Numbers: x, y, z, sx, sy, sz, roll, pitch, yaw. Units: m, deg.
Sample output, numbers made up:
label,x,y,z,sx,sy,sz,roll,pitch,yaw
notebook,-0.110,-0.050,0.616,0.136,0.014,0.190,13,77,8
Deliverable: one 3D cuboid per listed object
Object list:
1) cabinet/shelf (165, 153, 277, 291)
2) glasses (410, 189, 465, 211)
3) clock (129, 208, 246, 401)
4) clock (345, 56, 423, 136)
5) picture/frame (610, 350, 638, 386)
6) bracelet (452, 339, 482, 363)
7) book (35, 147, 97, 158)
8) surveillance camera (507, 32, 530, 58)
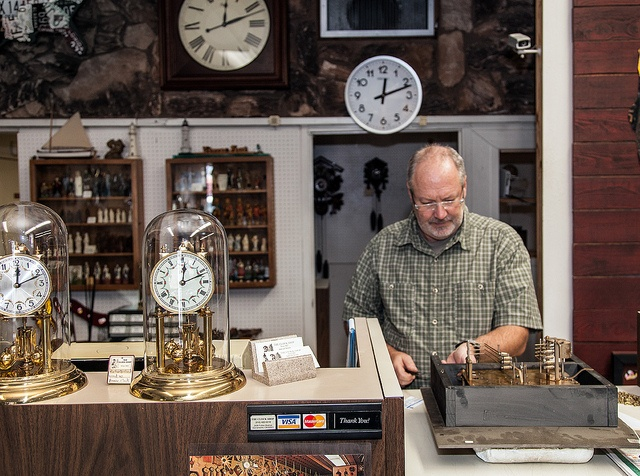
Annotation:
label,x,y,z,sx,sy,sz,roll,pitch,yaw
cabinet/shelf,-0.738,-0.140,8.563,0.913,1.414,0.335,-1,-2,-3
glasses,0.782,-0.223,7.737,0.317,0.069,0.116,-4,3,6
clock,-0.784,0.322,6.988,0.631,1.175,0.678,-1,-15,-6
clock,0.517,-1.187,9.477,0.530,0.629,0.043,-1,3,3
picture/frame,2.306,0.977,8.813,0.198,0.261,0.146,-1,4,37
bracelet,0.926,0.681,7.218,0.105,0.168,0.121,-4,-3,5
book,-2.072,-0.687,9.530,0.550,0.117,0.151,0,2,-11
surveillance camera,1.563,-1.533,9.256,0.107,0.214,0.204,-6,17,-7
